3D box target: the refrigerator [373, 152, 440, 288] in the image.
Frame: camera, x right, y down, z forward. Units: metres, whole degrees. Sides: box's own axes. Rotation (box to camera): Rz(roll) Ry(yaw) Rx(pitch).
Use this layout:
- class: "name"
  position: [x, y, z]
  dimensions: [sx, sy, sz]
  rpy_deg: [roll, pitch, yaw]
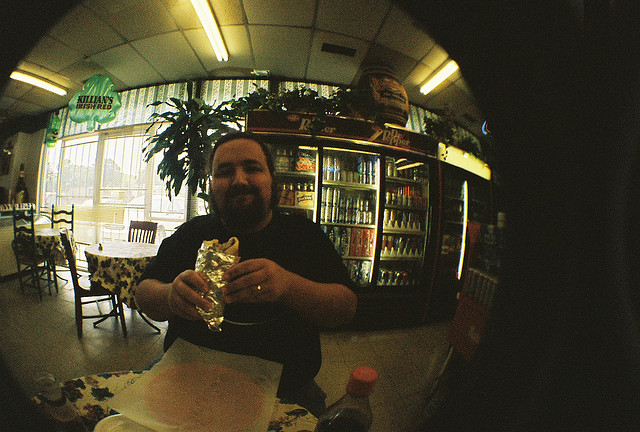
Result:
- class: "refrigerator"
  position: [0.218, -0.004, 1.241]
  dimensions: [0.187, 0.421, 0.134]
  rpy_deg: [4, 27, 17]

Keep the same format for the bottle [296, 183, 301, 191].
- class: "bottle"
  position: [-0.064, -0.081, 1.264]
  dimensions: [0.016, 0.031, 0.017]
  rpy_deg: [1, -5, 0]

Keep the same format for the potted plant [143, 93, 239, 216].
- class: "potted plant"
  position: [-0.343, -0.168, 1.283]
  dimensions: [0.273, 0.361, 0.281]
  rpy_deg: [6, 5, -19]

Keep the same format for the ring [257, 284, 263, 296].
- class: "ring"
  position: [-0.160, 0.197, 1.113]
  dimensions: [0.012, 0.030, 0.012]
  rpy_deg: [1, -1, 0]

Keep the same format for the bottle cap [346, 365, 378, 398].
- class: "bottle cap"
  position: [0.106, 0.416, 1.070]
  dimensions: [0.071, 0.069, 0.084]
  rpy_deg: [1, -1, 4]

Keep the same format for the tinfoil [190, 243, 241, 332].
- class: "tinfoil"
  position: [-0.282, 0.199, 1.127]
  dimensions: [0.073, 0.248, 0.151]
  rpy_deg: [2, -2, -40]

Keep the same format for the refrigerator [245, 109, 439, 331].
- class: "refrigerator"
  position: [0.063, 0.019, 1.149]
  dimensions: [0.532, 0.516, 0.172]
  rpy_deg: [6, -5, 8]

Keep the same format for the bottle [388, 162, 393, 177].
- class: "bottle"
  position: [0.187, -0.118, 1.128]
  dimensions: [0.013, 0.033, 0.012]
  rpy_deg: [1, -1, 0]
